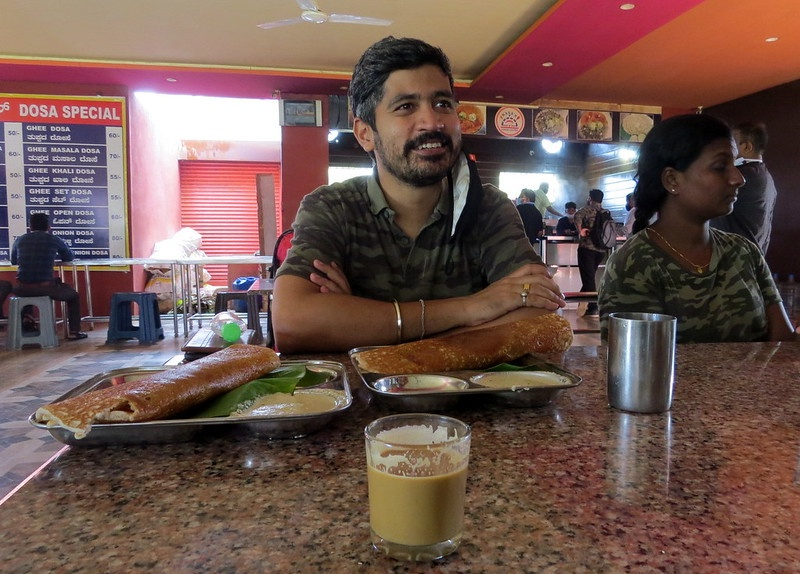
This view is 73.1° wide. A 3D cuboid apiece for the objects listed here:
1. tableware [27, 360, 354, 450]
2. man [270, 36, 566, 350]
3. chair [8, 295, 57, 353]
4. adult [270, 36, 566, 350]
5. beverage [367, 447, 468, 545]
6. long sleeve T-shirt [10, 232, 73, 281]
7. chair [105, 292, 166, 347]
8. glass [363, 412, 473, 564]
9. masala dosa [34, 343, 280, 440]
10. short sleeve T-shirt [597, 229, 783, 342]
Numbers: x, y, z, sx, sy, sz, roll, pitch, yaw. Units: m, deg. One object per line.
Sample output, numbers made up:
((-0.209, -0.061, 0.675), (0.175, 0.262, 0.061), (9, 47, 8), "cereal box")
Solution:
((-0.321, 0.224, 0.924), (0.405, 0.032, 0.245), (-2, 7, -8), "tableware")
((0.004, -0.324, 1.786), (0.914, 0.962, 0.522), (-4, 7, -13), "man")
((-3.729, 0.377, 5.686), (0.628, 0.556, 0.553), (0, -3, -16), "chair")
((0.004, -0.324, 1.786), (0.914, 0.962, 0.522), (-4, 7, -13), "adult")
((0.020, 0.265, 0.722), (0.140, 0.078, 0.121), (0, -4, 2), "beverage")
((-4.033, -0.345, 6.011), (0.700, 0.490, 0.562), (-2, 5, -21), "long sleeve T-shirt")
((-2.858, 0.339, 5.785), (0.656, 0.432, 0.673), (0, -1, -38), "chair")
((0.022, 0.267, 0.754), (0.195, 0.164, 0.169), (0, 5, 2), "glass")
((-0.403, 0.163, 0.946), (0.143, 0.035, 0.256), (6, 12, 29), "masala dosa")
((1.045, -0.002, 1.956), (0.738, 0.411, 0.351), (-2, 7, 1), "short sleeve T-shirt")
